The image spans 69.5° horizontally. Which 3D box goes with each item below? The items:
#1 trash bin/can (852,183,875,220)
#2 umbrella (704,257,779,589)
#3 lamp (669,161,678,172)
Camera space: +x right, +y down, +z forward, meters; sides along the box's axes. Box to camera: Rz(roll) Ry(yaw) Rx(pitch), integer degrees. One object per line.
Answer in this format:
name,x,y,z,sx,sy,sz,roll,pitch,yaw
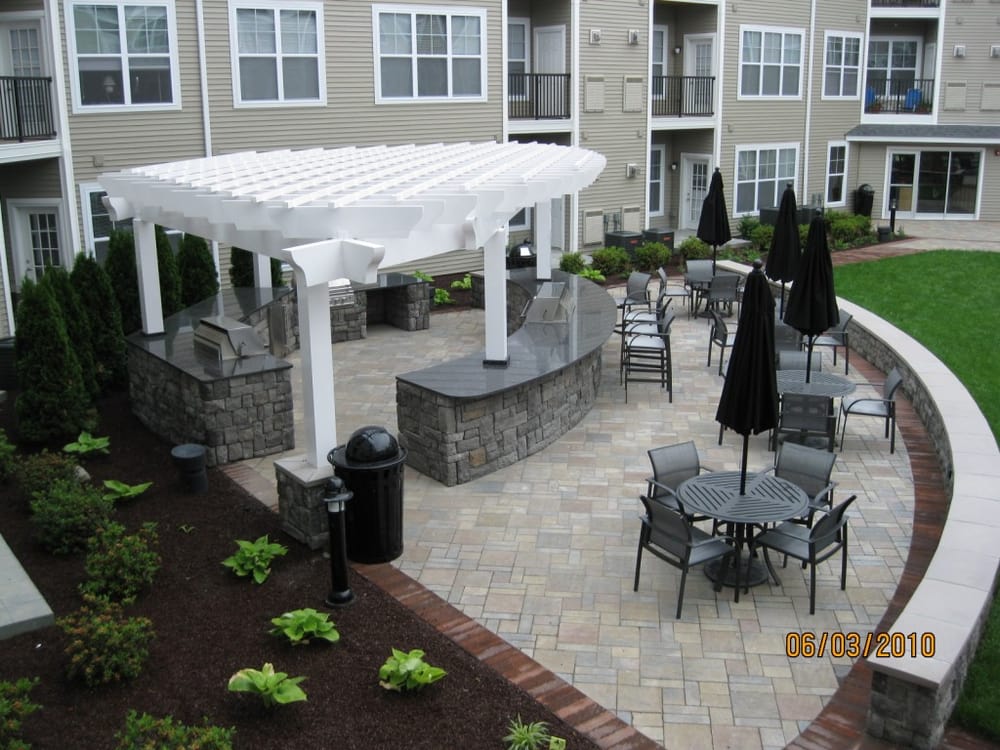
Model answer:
trash bin/can,14.795,-7.078,29.509,0.761,1.341,1.044,5,18,23
umbrella,2.444,0.537,7.216,0.597,3.140,1.112,4,19,20
lamp,6.619,-7.915,27.674,0.492,0.446,0.342,1,6,21
